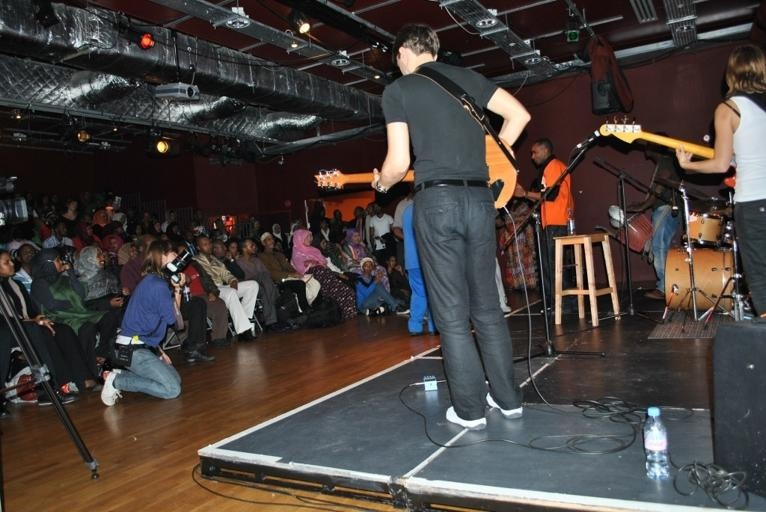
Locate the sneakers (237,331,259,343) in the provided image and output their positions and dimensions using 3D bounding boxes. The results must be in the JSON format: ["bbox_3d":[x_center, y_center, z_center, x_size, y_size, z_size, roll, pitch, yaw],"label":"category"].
[{"bbox_3d":[-1.925,1.113,7.632,0.307,0.142,0.098,-3,5,19],"label":"sneakers"}]

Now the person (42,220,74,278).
[{"bbox_3d":[-5.271,0.026,8.773,0.410,1.018,0.330,14,8,11],"label":"person"}]

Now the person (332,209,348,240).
[{"bbox_3d":[-1.046,-0.743,12.935,0.360,0.322,1.060,1,18,-7],"label":"person"}]

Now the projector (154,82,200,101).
[{"bbox_3d":[-3.075,-2.485,8.145,0.605,0.229,0.389,-5,4,-15],"label":"projector"}]

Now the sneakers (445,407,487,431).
[{"bbox_3d":[0.543,1.068,3.589,0.110,0.114,0.272,3,-5,-38],"label":"sneakers"}]

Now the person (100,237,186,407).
[{"bbox_3d":[-2.367,0.623,5.347,0.733,1.514,0.704,-5,4,-4],"label":"person"}]

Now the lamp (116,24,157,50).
[{"bbox_3d":[-3.248,-2.897,7.157,0.369,0.150,0.202,27,52,16],"label":"lamp"}]

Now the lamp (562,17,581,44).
[{"bbox_3d":[2.793,-3.341,8.012,0.189,0.311,0.243,-4,4,9],"label":"lamp"}]

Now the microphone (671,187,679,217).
[{"bbox_3d":[3.830,-0.699,7.129,0.100,0.376,0.056,2,-5,-1],"label":"microphone"}]

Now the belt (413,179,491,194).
[{"bbox_3d":[0.454,-0.464,3.522,0.466,0.070,0.147,-5,4,-8],"label":"belt"}]

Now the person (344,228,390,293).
[{"bbox_3d":[-0.269,0.145,10.014,0.804,1.404,0.552,-14,-2,18],"label":"person"}]

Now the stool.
[{"bbox_3d":[2.349,0.235,6.315,0.725,0.978,0.696,-5,-1,-14],"label":"stool"}]

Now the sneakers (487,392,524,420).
[{"bbox_3d":[0.821,1.032,3.702,0.113,0.125,0.296,1,-6,-18],"label":"sneakers"}]

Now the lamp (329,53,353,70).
[{"bbox_3d":[-0.696,-3.215,8.933,0.340,0.116,0.564,-4,4,5],"label":"lamp"}]

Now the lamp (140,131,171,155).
[{"bbox_3d":[-4.460,-2.258,10.824,0.509,0.504,0.545,-6,4,-21],"label":"lamp"}]

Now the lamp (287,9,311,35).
[{"bbox_3d":[-1.172,-3.228,7.530,0.326,0.321,0.335,-10,37,-16],"label":"lamp"}]

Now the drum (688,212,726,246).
[{"bbox_3d":[3.684,-0.299,6.283,0.445,0.403,0.440,1,-7,7],"label":"drum"}]

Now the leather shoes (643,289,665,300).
[{"bbox_3d":[3.772,0.540,7.557,0.090,0.099,0.236,-6,6,-30],"label":"leather shoes"}]

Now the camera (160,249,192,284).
[{"bbox_3d":[-2.103,0.123,5.540,0.220,0.334,0.132,32,-29,-16],"label":"camera"}]

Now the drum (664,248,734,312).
[{"bbox_3d":[3.654,0.382,6.255,0.769,0.727,0.700,-8,-6,21],"label":"drum"}]

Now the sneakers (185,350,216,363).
[{"bbox_3d":[-2.213,1.215,6.572,0.354,0.147,0.125,0,1,-9],"label":"sneakers"}]

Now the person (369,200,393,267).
[{"bbox_3d":[-0.032,-0.300,11.386,0.522,1.708,0.504,-3,1,16],"label":"person"}]

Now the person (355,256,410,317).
[{"bbox_3d":[-0.057,0.457,9.079,0.869,0.942,0.588,-7,8,39],"label":"person"}]

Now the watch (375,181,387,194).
[{"bbox_3d":[-0.015,-0.466,3.661,0.068,0.049,0.068,6,-7,-23],"label":"watch"}]

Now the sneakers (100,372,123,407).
[{"bbox_3d":[-2.594,1.267,5.175,0.187,0.382,0.143,4,2,-2],"label":"sneakers"}]

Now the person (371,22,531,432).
[{"bbox_3d":[0.462,-0.231,3.599,0.989,2.679,0.488,-5,5,0],"label":"person"}]

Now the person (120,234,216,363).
[{"bbox_3d":[-2.422,0.315,6.730,1.006,1.338,0.846,16,39,19],"label":"person"}]

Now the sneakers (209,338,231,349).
[{"bbox_3d":[-2.176,1.173,7.242,0.264,0.113,0.110,-3,-1,-7],"label":"sneakers"}]
